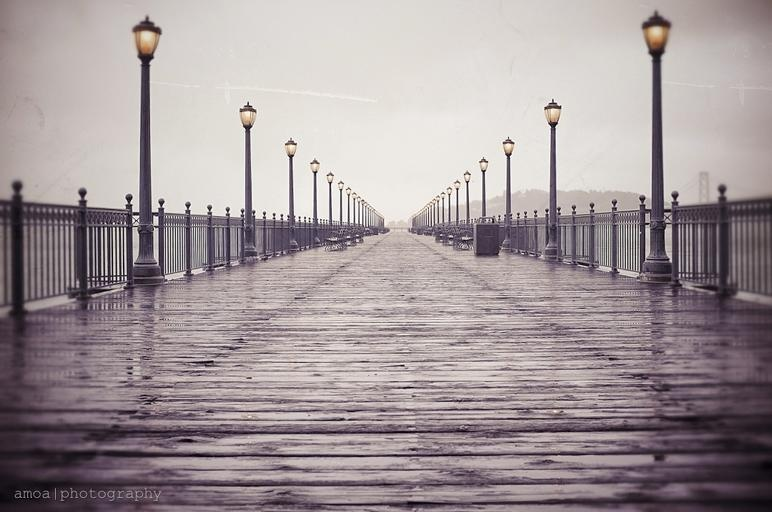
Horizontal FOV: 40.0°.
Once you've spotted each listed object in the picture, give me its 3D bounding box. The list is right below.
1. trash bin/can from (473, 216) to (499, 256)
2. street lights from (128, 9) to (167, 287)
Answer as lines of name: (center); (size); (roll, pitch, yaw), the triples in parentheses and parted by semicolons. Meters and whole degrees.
trash bin/can: (3.093, -0.546, 32.481); (0.736, 0.994, 0.808); (1, 4, 2)
street lights: (-4.644, -2.091, 20.713); (0.569, 5.205, 0.838); (0, 3, -14)
